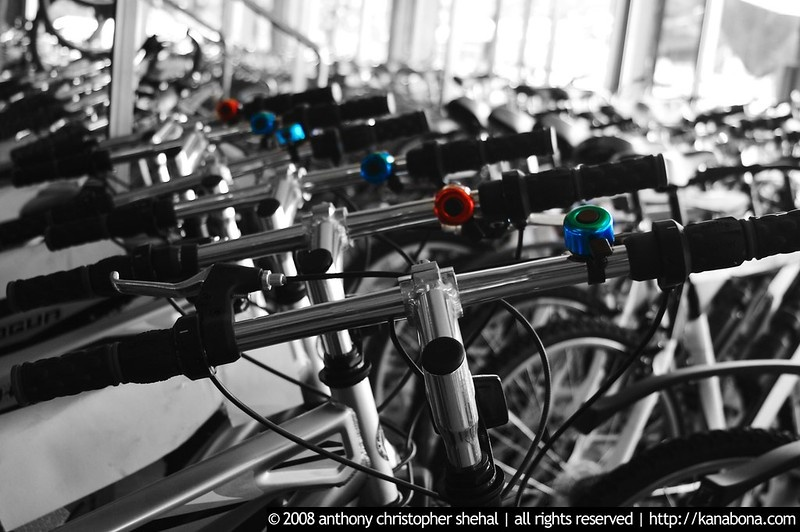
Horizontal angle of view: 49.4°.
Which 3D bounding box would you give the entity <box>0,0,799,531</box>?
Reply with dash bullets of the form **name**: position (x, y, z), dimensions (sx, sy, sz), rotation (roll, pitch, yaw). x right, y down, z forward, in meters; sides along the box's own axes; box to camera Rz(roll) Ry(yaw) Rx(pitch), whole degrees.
- **entity**: position (0.014, 0.136, 2.502), dimensions (1.834, 1.016, 1.109), rotation (-11, 35, -1)
